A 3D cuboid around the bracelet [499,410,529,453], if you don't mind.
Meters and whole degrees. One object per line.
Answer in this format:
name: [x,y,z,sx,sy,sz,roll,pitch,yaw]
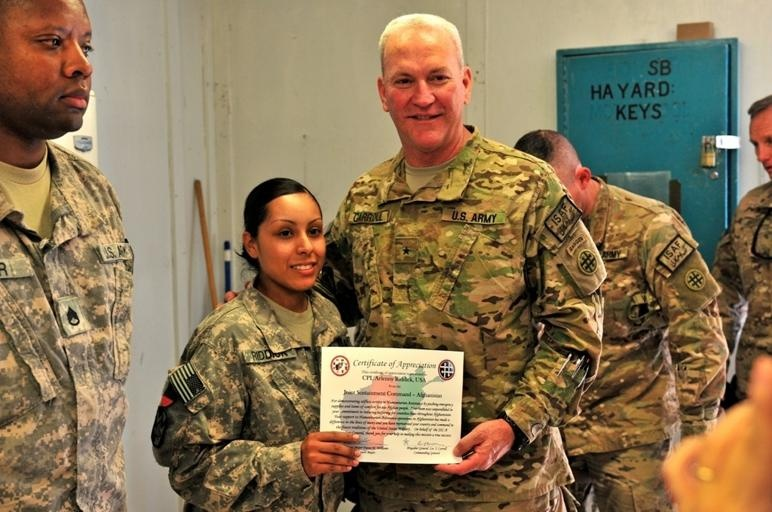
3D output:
bracelet: [0.439,0.606,2.739,0.074,0.132,0.118,-35,6,-3]
